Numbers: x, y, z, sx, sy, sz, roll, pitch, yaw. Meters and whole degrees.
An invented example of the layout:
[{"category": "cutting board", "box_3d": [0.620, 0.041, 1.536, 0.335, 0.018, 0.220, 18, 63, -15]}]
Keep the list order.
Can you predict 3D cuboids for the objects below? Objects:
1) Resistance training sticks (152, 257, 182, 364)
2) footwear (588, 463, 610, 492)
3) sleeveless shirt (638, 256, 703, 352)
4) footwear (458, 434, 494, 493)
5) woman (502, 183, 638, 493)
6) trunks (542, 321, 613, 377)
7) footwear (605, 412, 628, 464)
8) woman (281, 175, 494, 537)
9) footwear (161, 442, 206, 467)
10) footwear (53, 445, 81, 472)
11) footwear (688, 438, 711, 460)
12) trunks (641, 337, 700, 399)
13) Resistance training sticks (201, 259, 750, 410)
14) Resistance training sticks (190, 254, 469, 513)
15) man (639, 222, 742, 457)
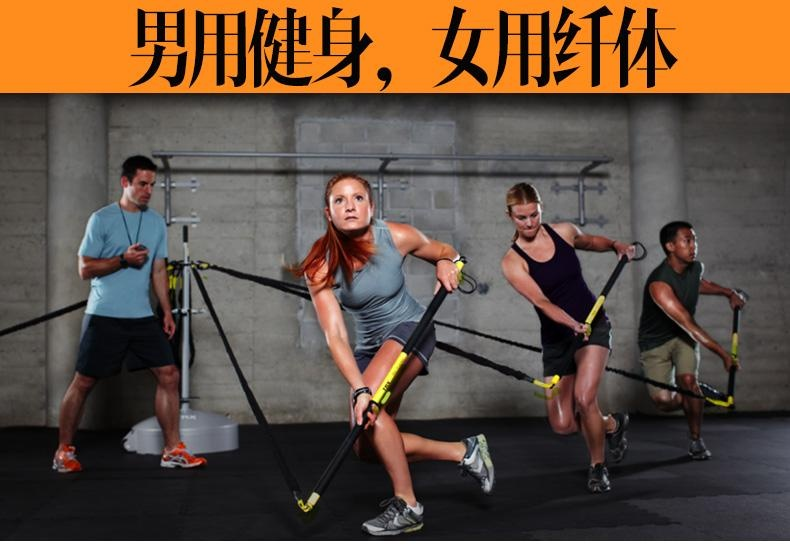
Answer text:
[{"category": "Resistance training sticks", "box_3d": [-1.864, 0.271, 10.752, 0.194, 0.809, 0.445, -2, -9, -3]}, {"category": "footwear", "box_3d": [1.528, 1.504, 10.077, 0.162, 0.204, 0.272, 1, 11, 9]}, {"category": "sleeveless shirt", "box_3d": [2.151, 0.241, 10.911, 0.613, 1.068, 0.921, 1, -1, 15]}, {"category": "footwear", "box_3d": [0.590, 1.371, 9.683, 0.213, 0.460, 0.148, -19, 8, -2]}, {"category": "woman", "box_3d": [1.271, 0.435, 10.228, 0.904, 2.294, 0.736, 3, 11, 19]}, {"category": "trunks", "box_3d": [1.369, 0.545, 10.178, 0.502, 0.181, 0.381, -34, 10, 26]}, {"category": "footwear", "box_3d": [1.720, 1.286, 10.532, 0.184, 0.401, 0.132, 4, -1, -20]}, {"category": "woman", "box_3d": [-0.064, 0.529, 9.406, 1.263, 2.467, 0.697, -1, 10, -5]}, {"category": "footwear", "box_3d": [-1.712, 1.452, 10.745, 0.426, 0.226, 0.154, 2, -9, 2]}, {"category": "footwear", "box_3d": [-2.584, 1.465, 10.547, 0.123, 0.144, 0.333, 6, -19, -31]}, {"category": "footwear", "box_3d": [2.458, 1.431, 10.941, 0.109, 0.107, 0.249, -4, -7, 2]}, {"category": "trunks", "box_3d": [2.230, 0.742, 10.879, 0.362, 0.356, 0.203, -30, -39, 24]}, {"category": "Resistance training sticks", "box_3d": [0.444, 0.497, 11.228, 4.971, 1.361, 0.403, 10, -8, 3]}, {"category": "Resistance training sticks", "box_3d": [-0.667, 0.890, 10.762, 1.808, 1.728, 0.233, 4, -19, -16]}, {"category": "man", "box_3d": [2.367, 0.534, 10.917, 0.783, 1.936, 0.739, 3, 11, 19]}]
